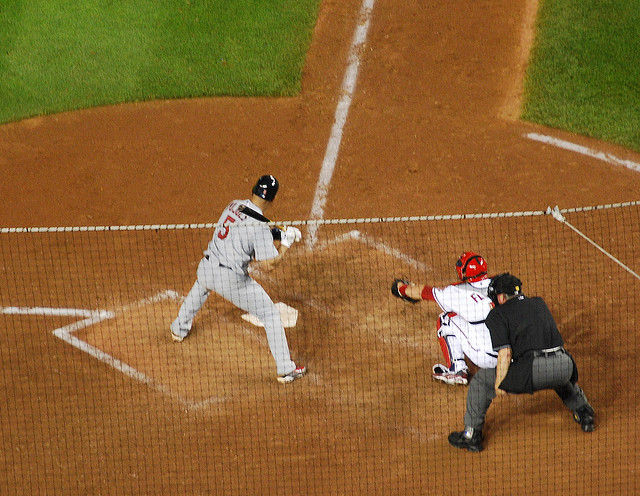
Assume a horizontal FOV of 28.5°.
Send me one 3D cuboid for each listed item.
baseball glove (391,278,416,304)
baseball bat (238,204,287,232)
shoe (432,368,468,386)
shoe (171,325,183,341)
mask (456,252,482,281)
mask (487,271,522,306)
[{"bbox_3d":[1.315,0.606,19.573,0.183,0.335,0.415,-31,29,-35],"label":"baseball glove"},{"bbox_3d":[-0.929,-0.482,19.866,0.601,0.078,0.192,35,34,5],"label":"baseball bat"},{"bbox_3d":[2.025,1.963,19.622,0.527,0.302,0.219,8,8,18],"label":"shoe"},{"bbox_3d":[-2.299,1.354,20.134,0.133,0.197,0.191,-2,6,-18],"label":"shoe"},{"bbox_3d":[2.262,0.211,19.150,0.287,0.402,0.412,-4,36,1],"label":"mask"},{"bbox_3d":[2.712,0.597,18.500,0.427,0.494,0.361,-19,14,22],"label":"mask"}]
